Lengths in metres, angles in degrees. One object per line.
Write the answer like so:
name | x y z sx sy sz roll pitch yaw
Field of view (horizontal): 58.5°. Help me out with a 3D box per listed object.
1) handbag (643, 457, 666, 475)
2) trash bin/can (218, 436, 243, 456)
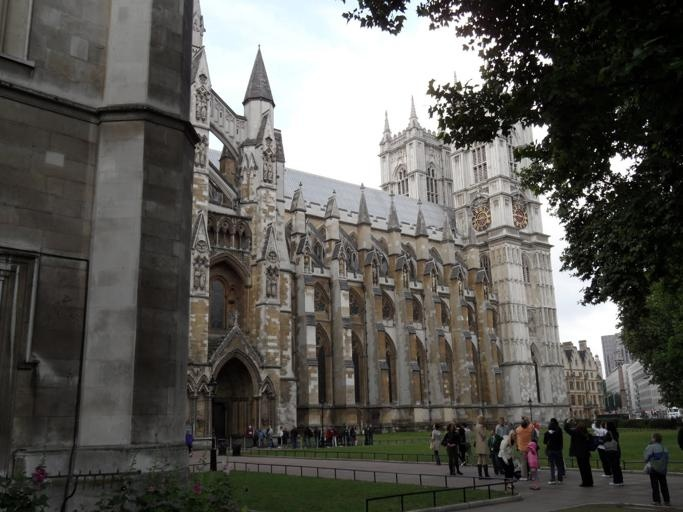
handbag | 6.765 4.510 13.139 0.285 0.303 0.398 4 -40 13
trash bin/can | -5.576 9.310 30.391 1.444 0.747 2.148 0 -14 -1
